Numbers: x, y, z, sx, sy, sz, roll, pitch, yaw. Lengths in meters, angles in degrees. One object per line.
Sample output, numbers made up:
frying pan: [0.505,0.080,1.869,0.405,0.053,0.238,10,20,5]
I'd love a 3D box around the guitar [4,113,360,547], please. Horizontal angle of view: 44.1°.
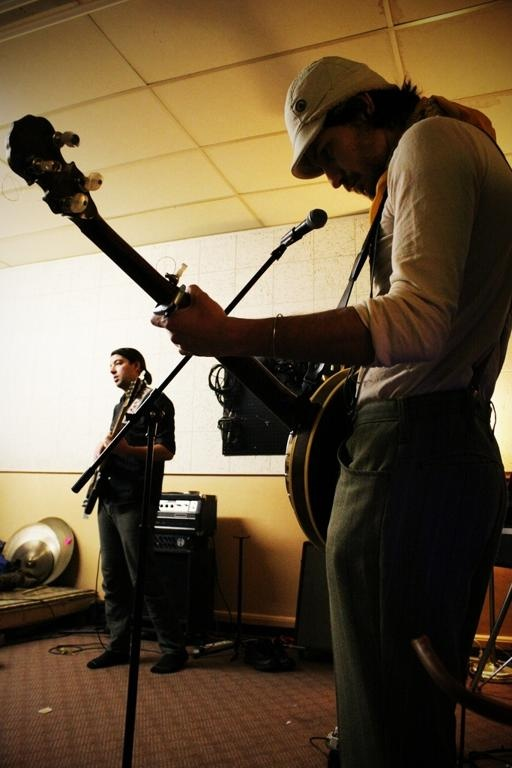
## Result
guitar: [-0.007,0.016,1.300,0.168,0.511,1.230,-6,-34,30]

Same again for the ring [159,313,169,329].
ring: [-0.127,-0.086,0.855,0.021,0.016,0.008,8,6,35]

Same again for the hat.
hat: [0.106,-0.468,1.103,0.211,0.131,0.147,-30,-39,-20]

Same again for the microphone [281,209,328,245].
microphone: [0.131,-0.460,1.932,0.064,0.068,0.201,-9,-10,-39]

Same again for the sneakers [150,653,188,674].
sneakers: [-0.411,1.329,3.003,0.071,0.065,0.180,-30,-34,34]

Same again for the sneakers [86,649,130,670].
sneakers: [-0.700,1.339,3.079,0.226,0.088,0.075,12,-34,-29]
